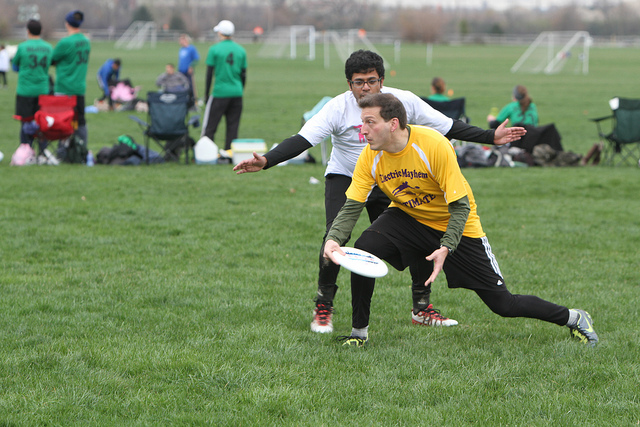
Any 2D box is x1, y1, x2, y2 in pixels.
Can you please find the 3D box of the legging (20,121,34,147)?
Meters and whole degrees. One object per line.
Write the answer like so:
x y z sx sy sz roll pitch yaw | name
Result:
-5.372 -1.463 23.002 0.274 0.451 0.144 -4 14 -28 | legging

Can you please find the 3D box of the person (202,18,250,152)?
-2.032 -2.645 26.894 0.964 2.923 0.748 1 11 -22 | person

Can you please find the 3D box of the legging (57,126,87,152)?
-4.431 -1.384 22.924 0.857 0.523 0.244 14 17 42 | legging

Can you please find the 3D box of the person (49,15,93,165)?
-4.400 -2.490 23.267 0.963 2.624 0.817 10 -20 -31 | person

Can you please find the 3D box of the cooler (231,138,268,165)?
-1.638 -1.335 26.442 0.323 0.388 0.574 -14 -5 -26 | cooler

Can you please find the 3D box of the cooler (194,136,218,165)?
-2.376 -1.317 26.177 0.534 0.557 0.522 -1 8 -6 | cooler

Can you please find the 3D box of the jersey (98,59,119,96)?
-3.557 -2.284 21.194 0.359 0.609 0.282 33 49 22 | jersey
